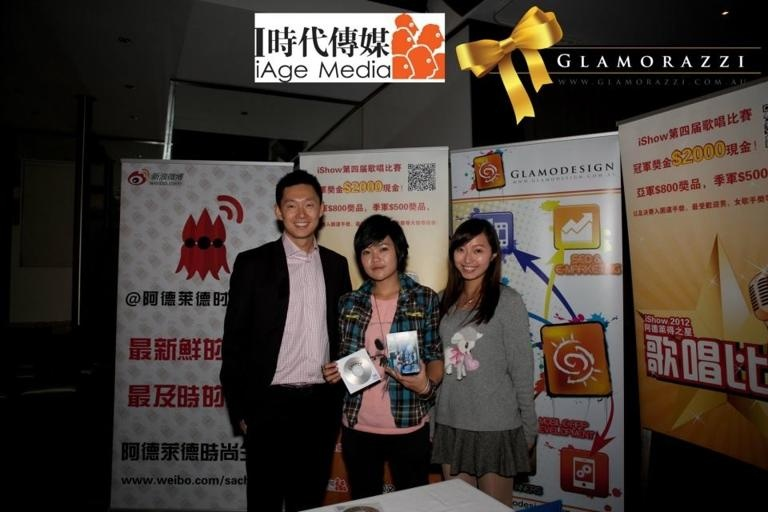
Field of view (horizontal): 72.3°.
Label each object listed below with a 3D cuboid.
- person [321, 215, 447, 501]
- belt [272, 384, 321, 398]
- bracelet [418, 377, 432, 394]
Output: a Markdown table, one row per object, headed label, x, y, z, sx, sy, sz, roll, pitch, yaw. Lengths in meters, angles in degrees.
| label | x | y | z | sx | sy | sz | roll | pitch | yaw |
| --- | --- | --- | --- | --- | --- | --- | --- | --- | --- |
| person | 0.058 | 0.750 | 3.921 | 0.797 | 1.827 | 0.322 | 1 | 0 | -4 |
| belt | -0.696 | 1.037 | 4.013 | 0.158 | 0.065 | 0.169 | -1 | 0 | 5 |
| bracelet | 0.299 | 0.955 | 3.847 | 0.104 | 0.125 | 0.052 | -12 | 9 | -18 |
